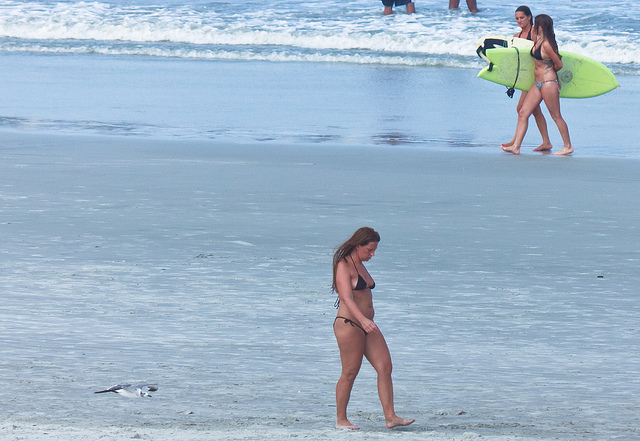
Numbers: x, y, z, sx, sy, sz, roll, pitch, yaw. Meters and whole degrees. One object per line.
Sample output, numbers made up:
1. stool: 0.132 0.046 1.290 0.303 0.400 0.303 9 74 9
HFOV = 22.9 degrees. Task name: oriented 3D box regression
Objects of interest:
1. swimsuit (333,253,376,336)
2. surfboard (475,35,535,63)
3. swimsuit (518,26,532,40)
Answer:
1. swimsuit: 0.436 0.906 19.284 0.546 1.003 0.368 -3 9 -17
2. surfboard: 3.378 -3.176 29.232 0.969 0.202 0.578 5 4 7
3. swimsuit: 3.706 -3.408 28.788 0.132 0.237 0.284 -5 9 -29
